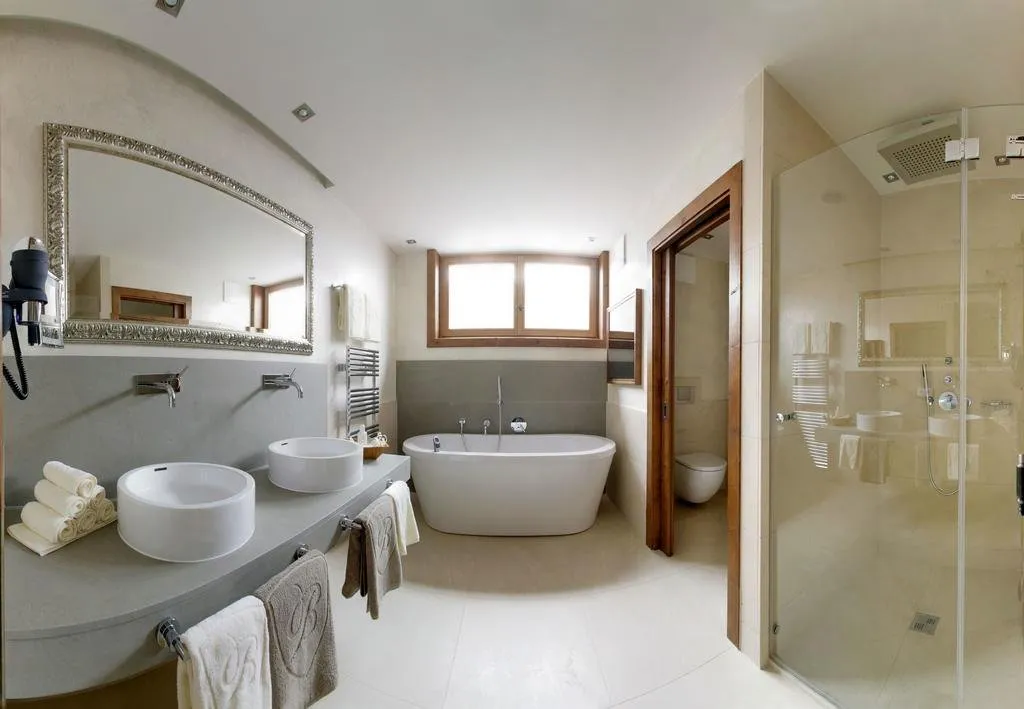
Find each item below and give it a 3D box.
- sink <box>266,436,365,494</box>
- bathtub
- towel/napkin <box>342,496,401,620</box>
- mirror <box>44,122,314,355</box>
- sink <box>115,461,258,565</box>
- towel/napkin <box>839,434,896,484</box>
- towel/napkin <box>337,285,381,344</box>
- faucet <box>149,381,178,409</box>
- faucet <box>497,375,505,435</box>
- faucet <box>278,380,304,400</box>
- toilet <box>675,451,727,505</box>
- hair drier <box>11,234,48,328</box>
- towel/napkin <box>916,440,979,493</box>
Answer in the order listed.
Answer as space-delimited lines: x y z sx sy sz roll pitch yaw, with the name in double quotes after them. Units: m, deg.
-1.051 0.586 3.679 0.531 0.226 0.450 1 1 39 "sink"
0.009 0.931 5.045 1.563 0.599 0.999 0 1 -8 "bathtub"
-0.699 0.991 3.493 0.205 0.458 0.504 4 6 3 "towel/napkin"
-1.720 -0.588 3.439 0.048 0.892 1.172 -1 -3 35 "mirror"
-1.509 0.695 3.174 0.589 0.251 0.615 4 11 -36 "sink"
1.773 0.523 3.439 0.271 0.287 0.206 1 -1 39 "towel/napkin"
-1.055 -0.269 4.647 0.081 0.253 0.427 -1 -1 9 "towel/napkin"
-1.684 0.199 3.363 0.109 0.127 0.122 0 1 7 "faucet"
-0.102 0.403 5.559 0.053 0.467 0.047 0 1 6 "faucet"
-1.261 0.209 3.982 0.079 0.105 0.227 0 1 9 "faucet"
1.410 0.970 5.174 0.323 0.355 0.416 2 2 -8 "toilet"
-1.925 -0.294 2.726 0.110 0.330 0.090 -1 1 -39 "hair drier"
2.098 0.537 3.303 0.157 0.266 0.284 -1 0 5 "towel/napkin"
